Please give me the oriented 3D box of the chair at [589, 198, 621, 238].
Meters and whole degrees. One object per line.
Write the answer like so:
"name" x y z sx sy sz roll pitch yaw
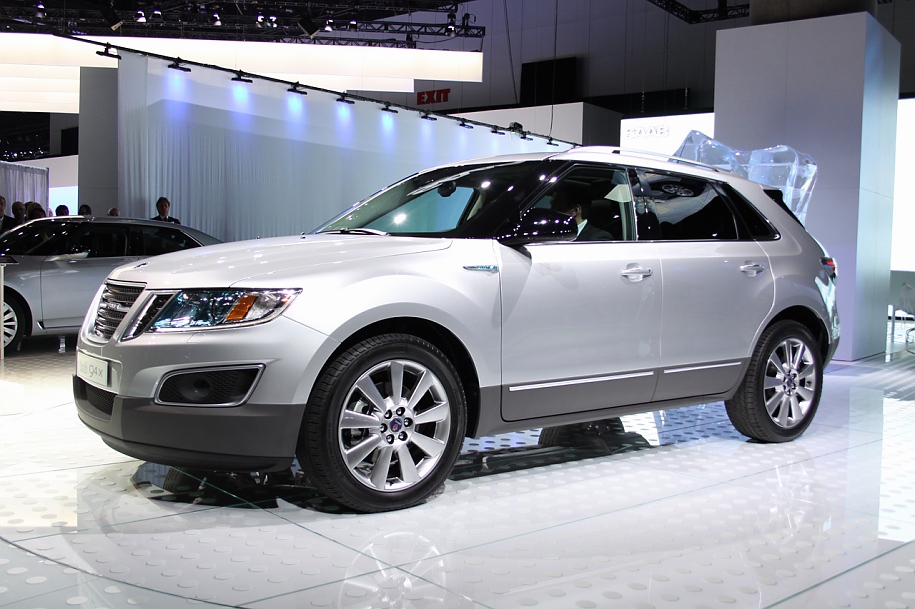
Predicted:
"chair" 0.984 -0.573 3.975 0.195 0.291 0.273 0 -6 -1
